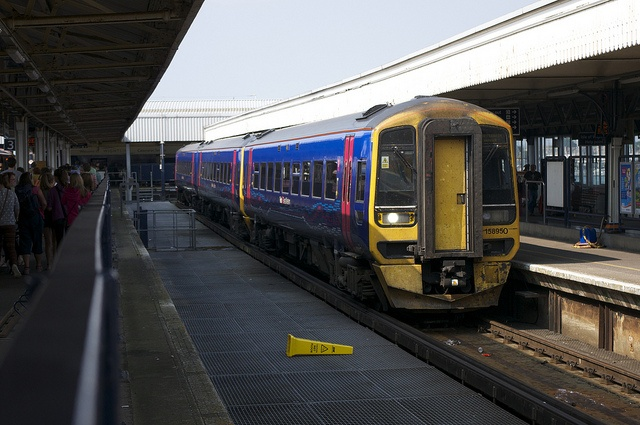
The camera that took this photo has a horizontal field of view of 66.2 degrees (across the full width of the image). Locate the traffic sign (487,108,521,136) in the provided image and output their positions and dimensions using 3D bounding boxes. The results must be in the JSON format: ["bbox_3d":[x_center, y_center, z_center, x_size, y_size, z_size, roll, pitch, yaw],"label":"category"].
[{"bbox_3d":[6.854,-3.439,18.146,0.105,1.040,1.297,-14,17,-25],"label":"traffic sign"}]

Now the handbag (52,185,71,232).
[{"bbox_3d":[-5.505,-0.094,10.458,0.216,0.891,0.612,-8,20,-29],"label":"handbag"}]

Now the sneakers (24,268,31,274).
[{"bbox_3d":[-6.393,1.290,10.774,0.085,0.119,0.413,-7,-1,-20],"label":"sneakers"}]
